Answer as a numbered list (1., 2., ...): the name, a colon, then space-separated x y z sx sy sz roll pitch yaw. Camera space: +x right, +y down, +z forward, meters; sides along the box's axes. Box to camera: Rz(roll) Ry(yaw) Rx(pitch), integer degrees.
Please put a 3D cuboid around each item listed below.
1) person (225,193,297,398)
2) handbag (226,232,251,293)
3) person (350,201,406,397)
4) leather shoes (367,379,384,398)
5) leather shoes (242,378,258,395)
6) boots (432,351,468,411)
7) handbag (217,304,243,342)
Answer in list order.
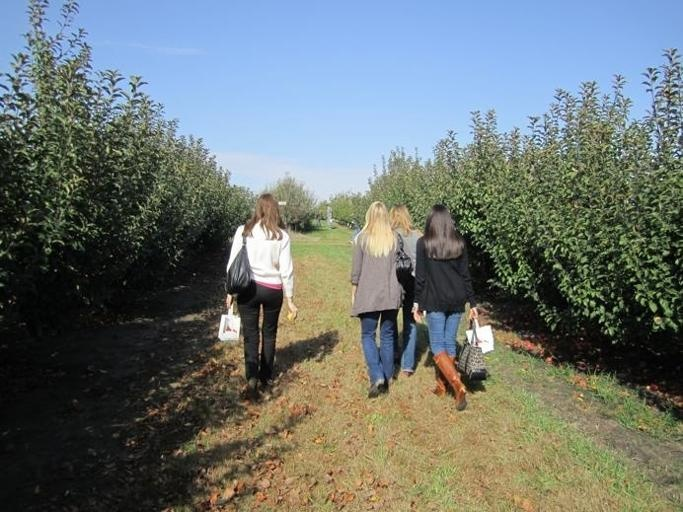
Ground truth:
1. person: -1.339 0.560 6.904 1.148 3.443 1.149 2 12 -9
2. handbag: -1.582 0.165 6.340 0.400 0.878 0.357 -9 15 -35
3. person: 0.556 0.703 6.478 0.781 3.060 0.639 0 12 1
4. leather shoes: 0.555 2.111 6.558 0.140 0.412 0.180 22 39 -11
5. leather shoes: -1.478 2.113 6.690 0.154 0.383 0.230 2 -2 6
6. boots: 1.643 1.869 6.298 0.413 0.713 1.338 -25 -8 8
7. handbag: -1.922 1.084 6.853 0.223 0.519 0.158 10 -2 -40
